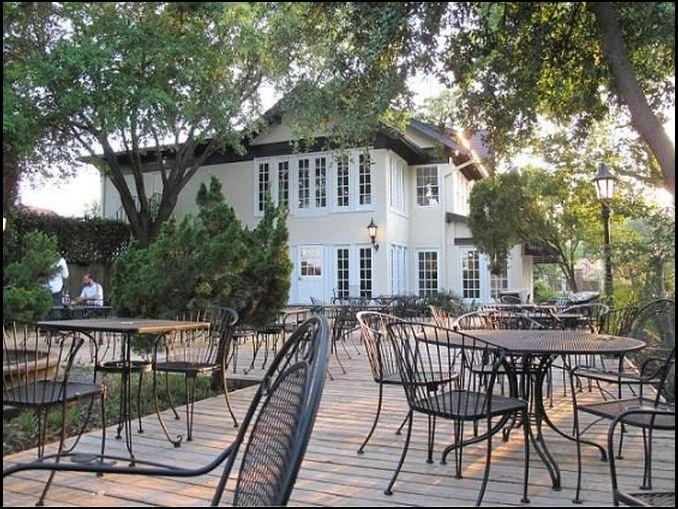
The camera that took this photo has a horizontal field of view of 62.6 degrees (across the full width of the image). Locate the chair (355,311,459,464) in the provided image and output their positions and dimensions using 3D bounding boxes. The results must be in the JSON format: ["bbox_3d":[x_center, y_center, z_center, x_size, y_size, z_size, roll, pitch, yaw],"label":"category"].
[{"bbox_3d":[0.622,1.172,5.427,0.857,1.459,1.043,-1,-5,15],"label":"chair"}]

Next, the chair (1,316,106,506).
[{"bbox_3d":[-2.569,1.431,5.015,0.951,1.691,0.994,-10,-12,41],"label":"chair"}]

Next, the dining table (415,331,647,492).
[{"bbox_3d":[1.631,1.237,4.815,1.415,1.059,1.510,-13,-3,-7],"label":"dining table"}]

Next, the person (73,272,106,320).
[{"bbox_3d":[-6.046,1.047,13.443,0.643,1.112,0.550,-2,1,-40],"label":"person"}]

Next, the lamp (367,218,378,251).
[{"bbox_3d":[0.955,-0.581,16.250,0.325,0.897,0.419,-1,-5,24],"label":"lamp"}]

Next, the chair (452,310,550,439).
[{"bbox_3d":[1.688,1.103,5.240,0.573,0.993,0.736,-1,-12,-22],"label":"chair"}]

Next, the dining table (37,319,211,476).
[{"bbox_3d":[-1.909,1.616,5.646,1.289,1.130,1.365,9,-1,22],"label":"dining table"}]
